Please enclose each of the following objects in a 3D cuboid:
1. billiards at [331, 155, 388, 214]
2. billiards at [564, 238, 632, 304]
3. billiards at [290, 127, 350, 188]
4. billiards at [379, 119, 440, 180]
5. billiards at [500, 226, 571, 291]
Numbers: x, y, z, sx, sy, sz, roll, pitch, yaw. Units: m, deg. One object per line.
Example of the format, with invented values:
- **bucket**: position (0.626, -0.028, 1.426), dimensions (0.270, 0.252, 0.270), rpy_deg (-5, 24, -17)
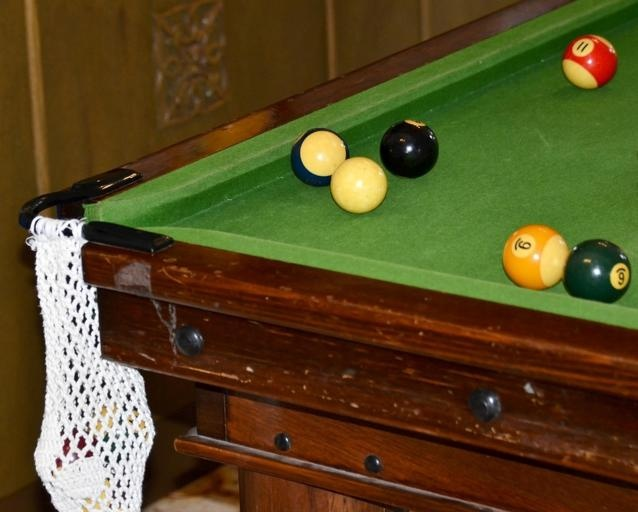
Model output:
- **billiards**: position (0.073, -0.129, 1.431), dimensions (0.100, 0.105, 0.102), rpy_deg (-19, -42, -14)
- **billiards**: position (0.424, 0.025, 1.141), dimensions (0.088, 0.065, 0.076), rpy_deg (5, -67, 10)
- **billiards**: position (-0.001, -0.196, 1.526), dimensions (0.125, 0.122, 0.107), rpy_deg (5, -60, 10)
- **billiards**: position (0.179, -0.208, 1.526), dimensions (0.114, 0.111, 0.130), rpy_deg (-11, -45, -7)
- **billiards**: position (0.348, 0.003, 1.202), dimensions (0.100, 0.092, 0.091), rpy_deg (12, -66, 7)
